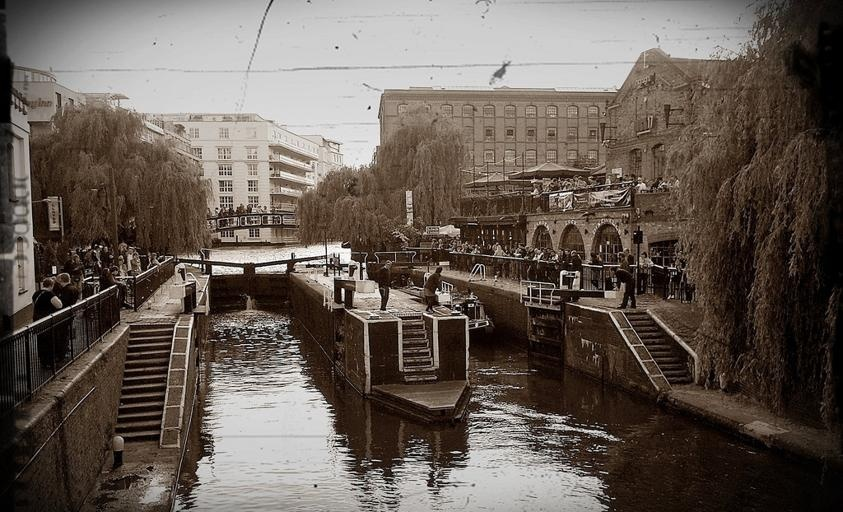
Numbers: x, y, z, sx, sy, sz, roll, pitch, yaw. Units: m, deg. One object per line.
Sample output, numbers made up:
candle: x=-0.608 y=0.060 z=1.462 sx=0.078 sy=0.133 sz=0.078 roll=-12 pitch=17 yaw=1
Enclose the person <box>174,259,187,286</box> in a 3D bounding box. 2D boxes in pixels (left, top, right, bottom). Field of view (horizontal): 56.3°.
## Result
person: x=-14.005 y=0.972 z=45.757 sx=0.477 sy=1.337 sz=0.822 roll=3 pitch=-2 yaw=1
